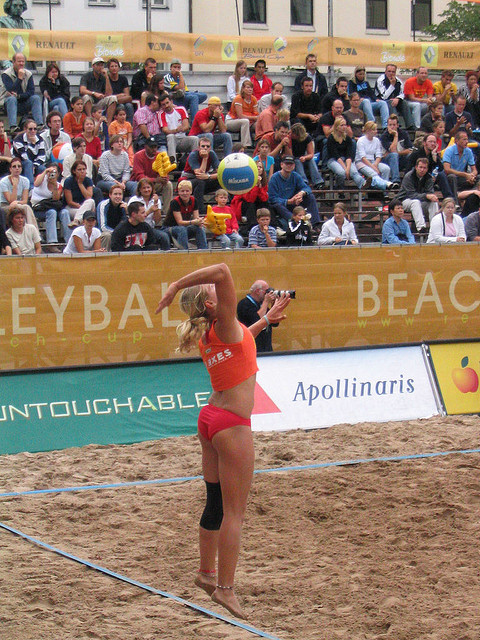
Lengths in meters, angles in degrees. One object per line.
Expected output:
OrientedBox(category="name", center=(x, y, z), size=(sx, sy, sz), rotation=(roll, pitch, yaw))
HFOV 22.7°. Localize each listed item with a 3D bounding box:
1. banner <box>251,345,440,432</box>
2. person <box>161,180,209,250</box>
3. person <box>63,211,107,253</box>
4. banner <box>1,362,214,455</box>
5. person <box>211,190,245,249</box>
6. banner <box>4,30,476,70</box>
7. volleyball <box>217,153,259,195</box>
OrientedBox(category="banner", center=(1.161, 0.683, 12.361), size=(2.433, 0.945, 0.087), rotation=(-7, 30, 18))
OrientedBox(category="person", center=(-0.666, -1.231, 14.234), size=(0.528, 0.851, 0.707), rotation=(-1, 13, -3))
OrientedBox(category="person", center=(-1.665, -0.922, 13.149), size=(0.374, 0.556, 0.725), rotation=(-3, 4, -37))
OrientedBox(category="banner", center=(-1.320, 0.865, 11.732), size=(2.080, 0.711, 0.442), rotation=(-6, 14, -20))
OrientedBox(category="person", center=(-0.131, -1.206, 14.389), size=(0.382, 0.743, 1.112), rotation=(-1, 13, 0))
OrientedBox(category="banner", center=(0.113, -4.455, 19.813), size=(8.137, 0.728, 0.762), rotation=(-6, 14, -22))
OrientedBox(category="volleyball", center=(-0.010, -1.713, 13.943), size=(0.344, 0.470, 0.398), rotation=(-6, 16, -27))
